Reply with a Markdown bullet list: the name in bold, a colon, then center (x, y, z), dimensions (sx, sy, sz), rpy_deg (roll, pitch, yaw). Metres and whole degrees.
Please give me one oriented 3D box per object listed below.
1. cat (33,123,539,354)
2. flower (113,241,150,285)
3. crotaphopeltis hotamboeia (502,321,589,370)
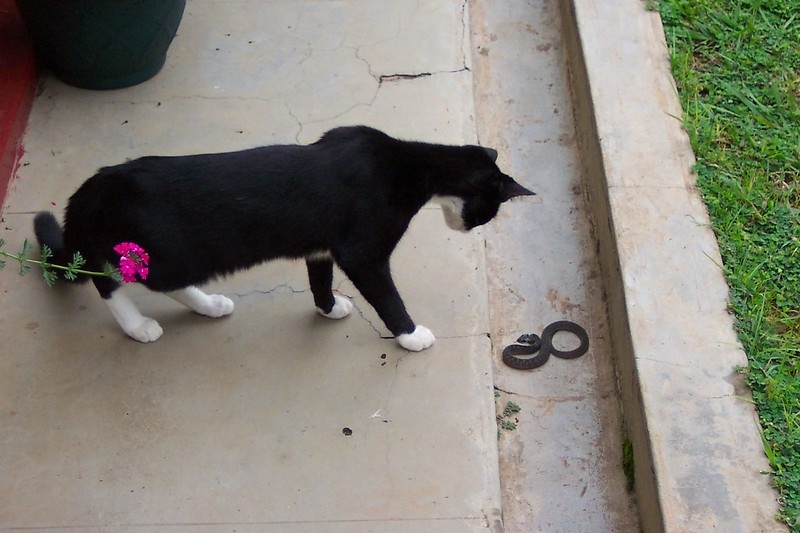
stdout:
- **cat**: center (-0.592, -0.120, 4.326), dimensions (2.452, 1.173, 0.606), rpy_deg (-2, 31, -12)
- **flower**: center (-1.248, -0.021, 3.997), dimensions (0.150, 0.216, 0.164), rpy_deg (-16, 70, -7)
- **crotaphopeltis hotamboeia**: center (0.772, 0.420, 4.560), dimensions (0.479, 0.257, 0.053), rpy_deg (-22, 25, 26)
